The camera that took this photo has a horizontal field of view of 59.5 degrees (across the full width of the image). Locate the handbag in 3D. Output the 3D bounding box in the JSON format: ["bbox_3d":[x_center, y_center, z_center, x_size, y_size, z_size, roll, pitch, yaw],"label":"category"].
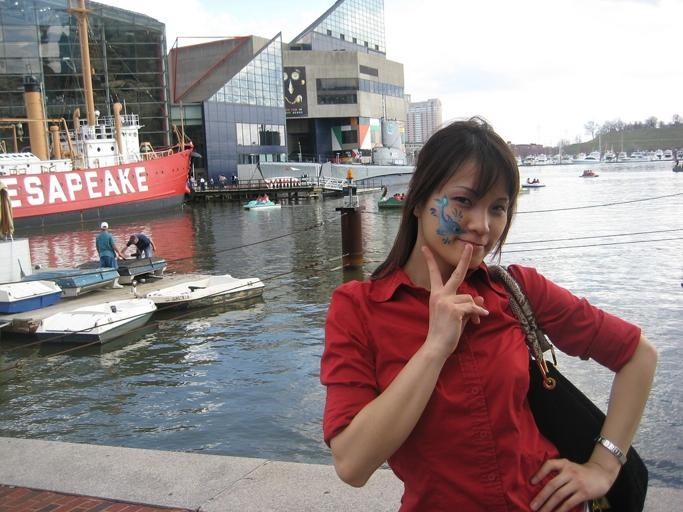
[{"bbox_3d":[1.025,0.498,2.784,0.942,0.865,0.639,3,37,42],"label":"handbag"}]

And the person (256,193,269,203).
[{"bbox_3d":[-6.325,-4.683,48.897,1.243,0.643,1.596,0,8,2],"label":"person"}]

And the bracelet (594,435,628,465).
[{"bbox_3d":[1.077,0.789,2.418,0.098,0.092,0.094,-46,11,-11],"label":"bracelet"}]
